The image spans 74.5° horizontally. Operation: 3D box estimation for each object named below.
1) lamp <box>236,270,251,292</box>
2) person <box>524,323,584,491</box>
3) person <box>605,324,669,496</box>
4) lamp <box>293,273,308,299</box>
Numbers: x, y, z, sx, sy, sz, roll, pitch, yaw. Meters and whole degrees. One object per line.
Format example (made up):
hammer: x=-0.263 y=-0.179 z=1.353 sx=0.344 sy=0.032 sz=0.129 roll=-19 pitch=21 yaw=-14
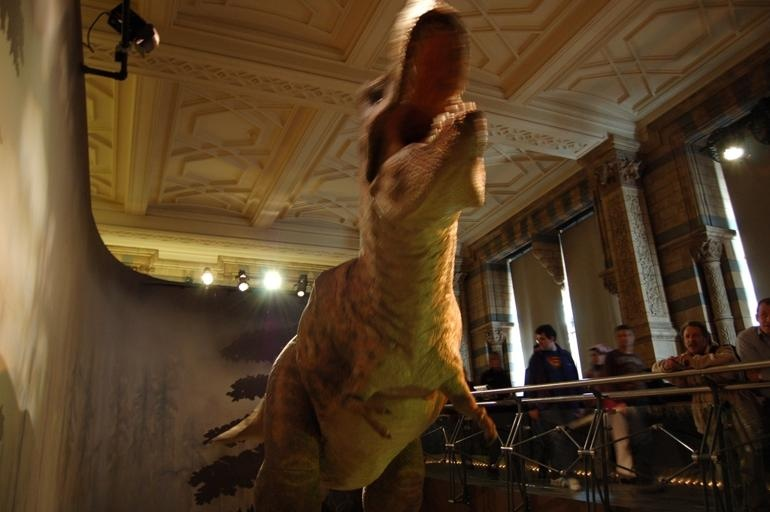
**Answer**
lamp: x=-2.556 y=0.402 z=9.050 sx=0.262 sy=0.191 sz=0.453 roll=5 pitch=20 yaw=-9
person: x=1.273 y=1.086 z=3.722 sx=0.430 sy=1.194 sz=0.369 roll=-4 pitch=-5 yaw=-15
person: x=1.476 y=0.888 z=3.025 sx=0.293 sy=0.974 sz=0.312 roll=-4 pitch=-6 yaw=7
lamp: x=-1.912 y=0.637 z=11.558 sx=0.299 sy=0.621 sz=0.898 roll=1 pitch=-20 yaw=-9
